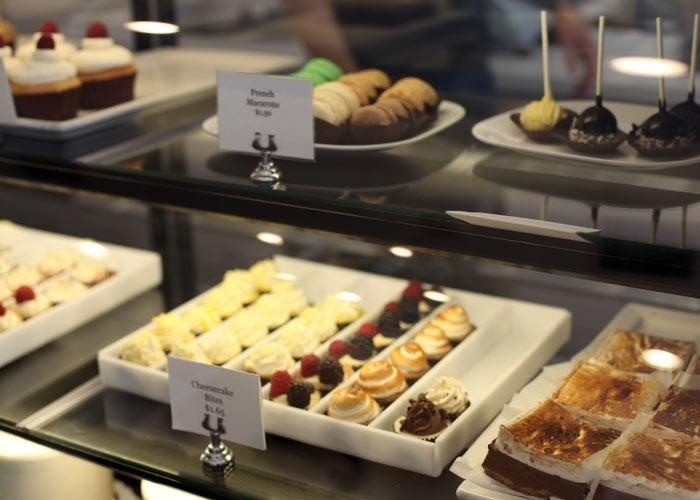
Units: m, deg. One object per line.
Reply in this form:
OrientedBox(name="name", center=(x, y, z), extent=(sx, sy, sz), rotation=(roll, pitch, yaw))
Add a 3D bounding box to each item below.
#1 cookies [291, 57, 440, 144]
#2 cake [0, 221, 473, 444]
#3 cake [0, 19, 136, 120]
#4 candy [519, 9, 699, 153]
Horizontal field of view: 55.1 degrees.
OrientedBox(name="cookies", center=(0.005, -0.243, 1.120), extent=(0.190, 0.069, 0.172), rotation=(19, 37, 35))
OrientedBox(name="cake", center=(-0.149, 0.195, 1.667), extent=(0.518, 0.110, 0.561), rotation=(9, 23, 26))
OrientedBox(name="cake", center=(-0.498, -0.338, 1.298), extent=(0.175, 0.144, 0.285), rotation=(3, 14, 13))
OrientedBox(name="candy", center=(0.425, -0.267, 1.071), extent=(0.263, 0.219, 0.100), rotation=(4, 10, 18))
